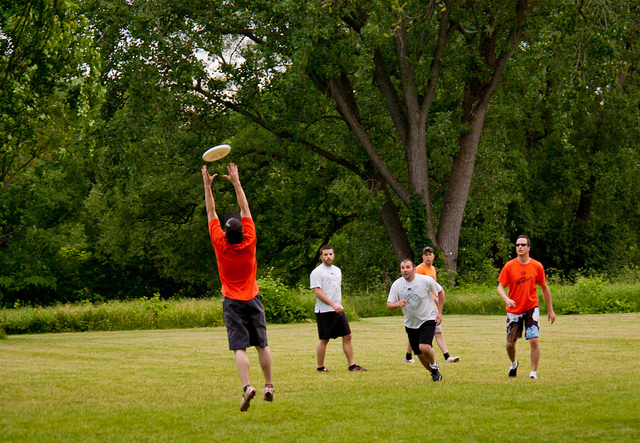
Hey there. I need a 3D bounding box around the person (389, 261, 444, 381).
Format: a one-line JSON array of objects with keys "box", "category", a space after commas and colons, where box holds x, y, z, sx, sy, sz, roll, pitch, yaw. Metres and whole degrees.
[{"box": [2.056, 2.064, 17.242, 1.407, 2.490, 0.519, -1, -7, -22], "category": "person"}]

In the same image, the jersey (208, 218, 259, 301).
[{"box": [-1.645, 0.722, 15.819, 0.865, 1.587, 0.511, -3, -6, -9], "category": "jersey"}]

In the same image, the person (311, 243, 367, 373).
[{"box": [0.316, 1.923, 18.621, 0.905, 2.888, 0.996, -4, -6, 2], "category": "person"}]

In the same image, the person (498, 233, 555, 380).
[{"box": [4.303, 1.779, 17.301, 1.017, 2.947, 0.457, -5, -6, 10], "category": "person"}]

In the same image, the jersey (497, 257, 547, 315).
[{"box": [4.284, 1.328, 17.551, 1.012, 1.247, 0.481, -1, 18, 2], "category": "jersey"}]

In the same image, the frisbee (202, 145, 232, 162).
[{"box": [-2.020, -1.318, 16.353, 0.389, 0.074, 0.374, -2, -13, -40], "category": "frisbee"}]

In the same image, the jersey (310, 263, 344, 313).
[{"box": [0.148, 1.468, 18.464, 0.654, 1.093, 0.557, -4, -6, -1], "category": "jersey"}]

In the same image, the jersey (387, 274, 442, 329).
[{"box": [2.023, 1.657, 17.359, 1.233, 1.063, 0.616, -9, 4, 18], "category": "jersey"}]
